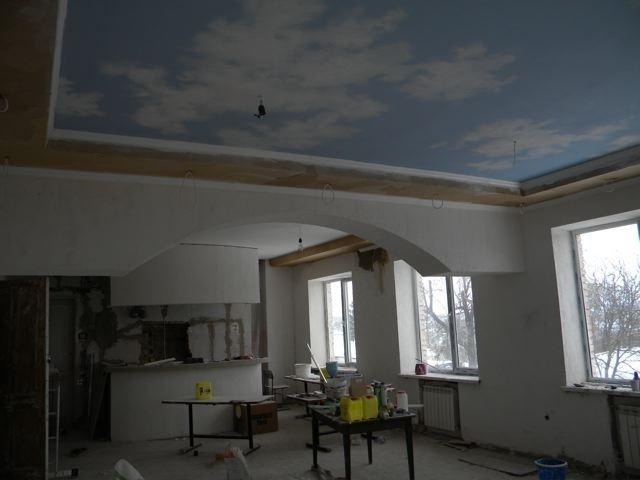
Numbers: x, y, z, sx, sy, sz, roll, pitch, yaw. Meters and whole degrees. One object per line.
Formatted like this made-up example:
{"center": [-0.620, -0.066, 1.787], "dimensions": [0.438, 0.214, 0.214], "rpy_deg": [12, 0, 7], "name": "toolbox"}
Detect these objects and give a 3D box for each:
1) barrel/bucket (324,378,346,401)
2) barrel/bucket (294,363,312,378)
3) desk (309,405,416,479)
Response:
{"center": [0.213, 1.887, 6.251], "dimensions": [0.223, 0.209, 0.261], "rpy_deg": [1, -2, -6], "name": "barrel/bucket"}
{"center": [-0.336, 2.567, 9.656], "dimensions": [0.267, 0.194, 0.292], "rpy_deg": [0, -14, 0], "name": "barrel/bucket"}
{"center": [0.512, 2.468, 5.653], "dimensions": [1.033, 0.864, 1.124], "rpy_deg": [6, -15, -24], "name": "desk"}
